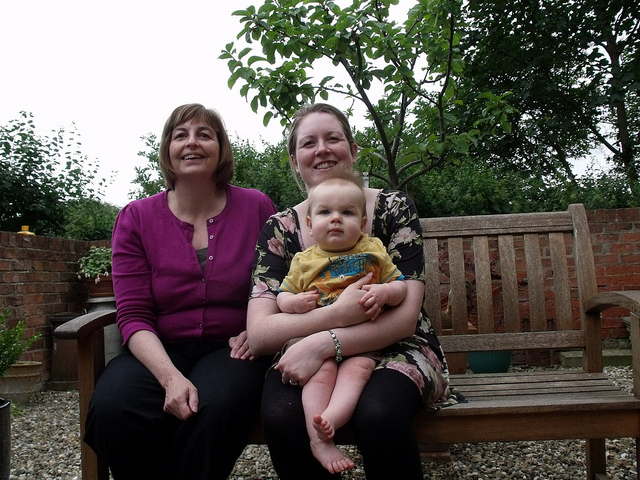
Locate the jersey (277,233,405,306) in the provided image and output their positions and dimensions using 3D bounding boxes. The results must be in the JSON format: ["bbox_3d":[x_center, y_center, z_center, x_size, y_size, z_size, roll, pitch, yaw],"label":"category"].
[{"bbox_3d":[0.116,0.164,2.382,0.676,0.348,0.368,-8,9,-15],"label":"jersey"}]

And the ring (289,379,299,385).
[{"bbox_3d":[-0.112,0.610,2.097,0.033,0.023,0.031,0,-3,0],"label":"ring"}]

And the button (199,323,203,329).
[{"bbox_3d":[-0.615,0.441,2.504,0.022,0.021,0.005,1,-3,-3],"label":"button"}]

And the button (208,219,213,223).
[{"bbox_3d":[-0.599,-0.103,2.656,0.023,0.021,0.008,-4,-10,-7],"label":"button"}]

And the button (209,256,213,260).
[{"bbox_3d":[-0.578,0.095,2.562,0.019,0.018,0.005,-3,-3,-3],"label":"button"}]

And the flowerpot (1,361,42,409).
[{"bbox_3d":[-2.883,1.383,4.618,0.176,0.430,0.384,-6,-4,23],"label":"flowerpot"}]

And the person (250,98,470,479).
[{"bbox_3d":[0.142,0.322,2.268,0.955,1.373,0.596,-4,-3,-9],"label":"person"}]

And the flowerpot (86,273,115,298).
[{"bbox_3d":[-2.354,0.480,5.211,0.413,0.289,0.398,2,-7,-30],"label":"flowerpot"}]

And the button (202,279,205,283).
[{"bbox_3d":[-0.607,0.211,2.523,0.021,0.020,0.005,-1,-2,10],"label":"button"}]
